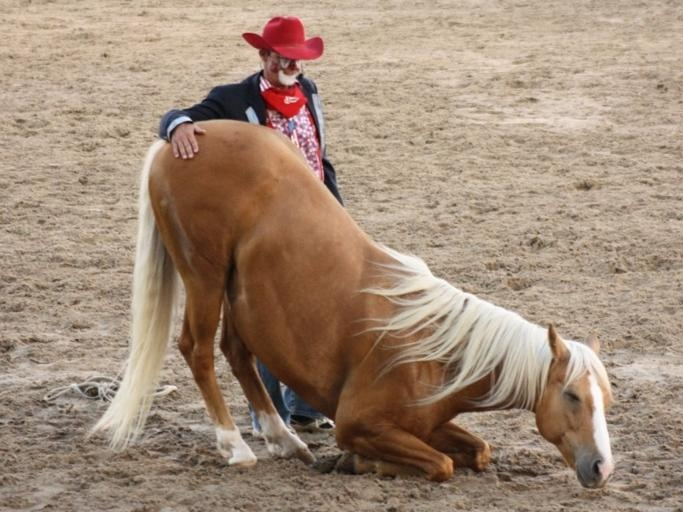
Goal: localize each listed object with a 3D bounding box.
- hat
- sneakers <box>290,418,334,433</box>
[{"bbox_3d":[-0.541,-2.033,12.774,0.771,0.290,0.728,2,15,-8],"label":"hat"},{"bbox_3d":[-0.246,1.559,13.071,0.440,0.133,0.148,-1,3,6],"label":"sneakers"}]
